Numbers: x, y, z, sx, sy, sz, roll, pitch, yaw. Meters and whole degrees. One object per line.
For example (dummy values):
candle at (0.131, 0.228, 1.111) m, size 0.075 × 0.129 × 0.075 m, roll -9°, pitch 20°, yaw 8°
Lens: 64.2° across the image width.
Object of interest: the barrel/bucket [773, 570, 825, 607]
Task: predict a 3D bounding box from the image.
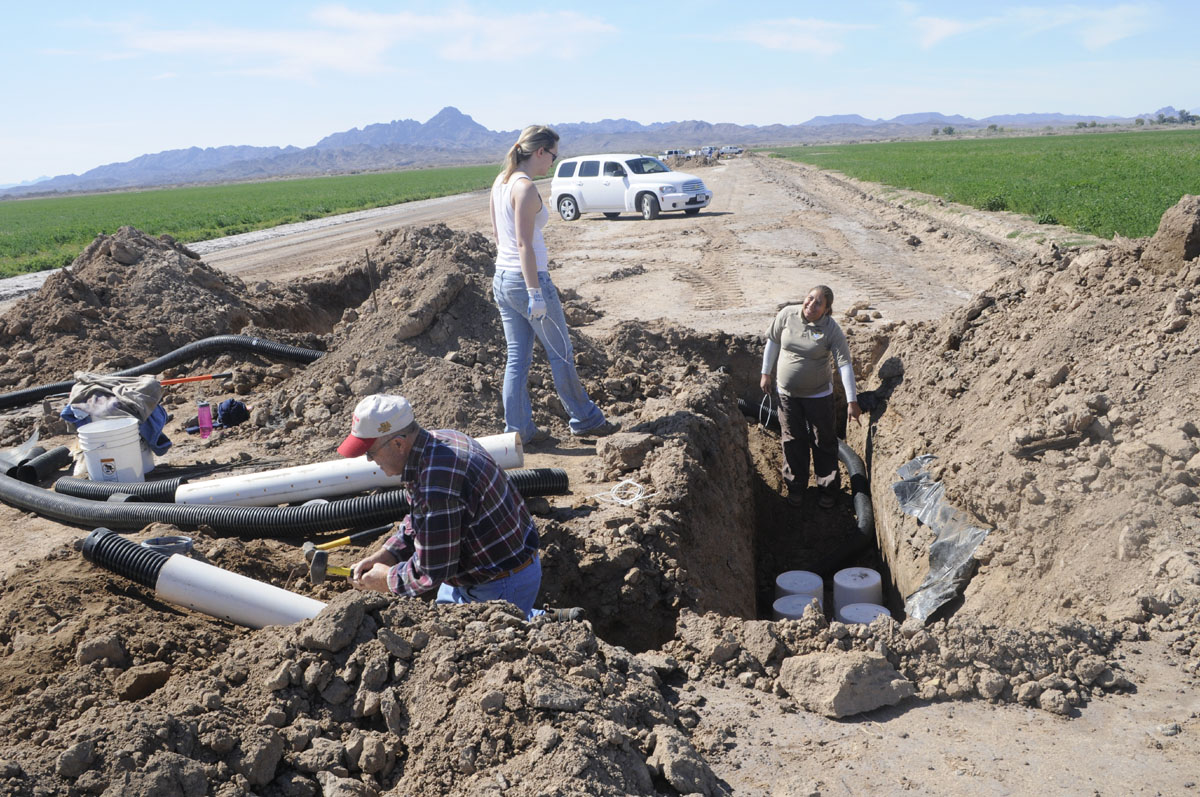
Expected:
barrel/bucket at (1.660, 1.545, 7.940) m, size 0.354 × 0.197 × 0.337 m, roll -3°, pitch 16°, yaw 1°

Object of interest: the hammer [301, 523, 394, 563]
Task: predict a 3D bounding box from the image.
hammer at (-1.844, 1.042, 7.063) m, size 0.819 × 0.073 × 0.242 m, roll -17°, pitch 2°, yaw -43°

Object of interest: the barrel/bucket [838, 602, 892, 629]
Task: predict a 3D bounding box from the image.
barrel/bucket at (1.883, 1.548, 6.821) m, size 0.437 × 0.149 × 0.416 m, roll -2°, pitch 6°, yaw 0°

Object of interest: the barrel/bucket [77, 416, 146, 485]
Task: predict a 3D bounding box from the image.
barrel/bucket at (-4.142, 0.487, 8.101) m, size 0.493 × 0.470 × 0.465 m, roll -5°, pitch 7°, yaw 1°

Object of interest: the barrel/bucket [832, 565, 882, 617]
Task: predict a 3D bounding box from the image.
barrel/bucket at (2.133, 1.531, 7.855) m, size 0.369 × 0.309 × 0.367 m, roll -3°, pitch 15°, yaw 1°

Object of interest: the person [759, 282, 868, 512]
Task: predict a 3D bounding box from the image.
person at (2.055, -0.015, 9.243) m, size 0.524 × 2.229 × 1.149 m, roll -18°, pitch 22°, yaw -26°

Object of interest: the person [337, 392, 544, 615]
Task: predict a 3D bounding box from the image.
person at (-1.048, 0.746, 6.337) m, size 0.987 × 1.525 × 0.700 m, roll -21°, pitch 27°, yaw 11°

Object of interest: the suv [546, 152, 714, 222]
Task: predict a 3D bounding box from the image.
suv at (0.542, -5.290, 24.455) m, size 3.479 × 1.221 × 1.955 m, roll 6°, pitch 24°, yaw 24°

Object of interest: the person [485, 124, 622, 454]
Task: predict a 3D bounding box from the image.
person at (-0.511, -0.838, 7.945) m, size 0.878 × 2.753 × 0.925 m, roll -5°, pitch 20°, yaw 8°

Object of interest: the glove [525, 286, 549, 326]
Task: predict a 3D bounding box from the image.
glove at (-0.518, -0.765, 7.757) m, size 0.179 × 0.307 × 0.210 m, roll -8°, pitch 20°, yaw -2°

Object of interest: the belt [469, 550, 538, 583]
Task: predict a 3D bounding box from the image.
belt at (-0.562, 1.126, 6.147) m, size 0.283 × 0.246 × 0.266 m, roll -6°, pitch 10°, yaw 1°

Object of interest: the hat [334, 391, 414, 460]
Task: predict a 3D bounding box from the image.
hat at (-1.384, 0.128, 5.765) m, size 0.556 × 0.269 × 0.340 m, roll -25°, pitch 23°, yaw -13°

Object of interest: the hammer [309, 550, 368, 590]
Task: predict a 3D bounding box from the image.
hammer at (-1.740, 1.149, 6.358) m, size 0.112 × 0.158 × 0.340 m, roll -15°, pitch 6°, yaw -27°
